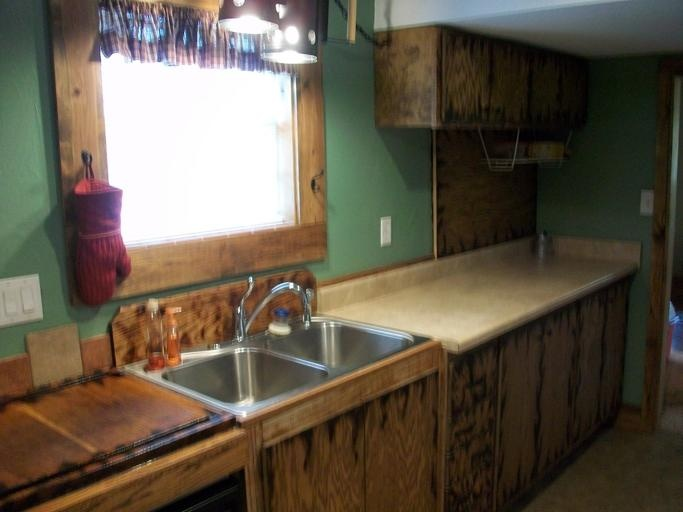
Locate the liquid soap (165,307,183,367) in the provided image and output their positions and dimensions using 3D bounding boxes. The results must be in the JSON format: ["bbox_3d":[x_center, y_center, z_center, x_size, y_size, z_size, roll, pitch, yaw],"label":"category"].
[{"bbox_3d":[-0.600,0.276,1.935,0.056,0.194,0.106,-5,15,-10],"label":"liquid soap"}]

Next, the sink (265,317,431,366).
[{"bbox_3d":[-0.064,0.355,2.227,0.279,0.146,0.352,8,11,41],"label":"sink"}]

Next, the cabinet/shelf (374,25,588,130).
[{"bbox_3d":[0.758,-0.877,2.810,1.291,0.511,0.369,-15,19,-36],"label":"cabinet/shelf"}]

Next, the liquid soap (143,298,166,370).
[{"bbox_3d":[-0.653,0.270,1.886,0.073,0.226,0.096,-8,15,-19],"label":"liquid soap"}]

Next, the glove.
[{"bbox_3d":[-0.810,-0.042,1.818,0.182,0.422,0.117,-11,17,-29],"label":"glove"}]
